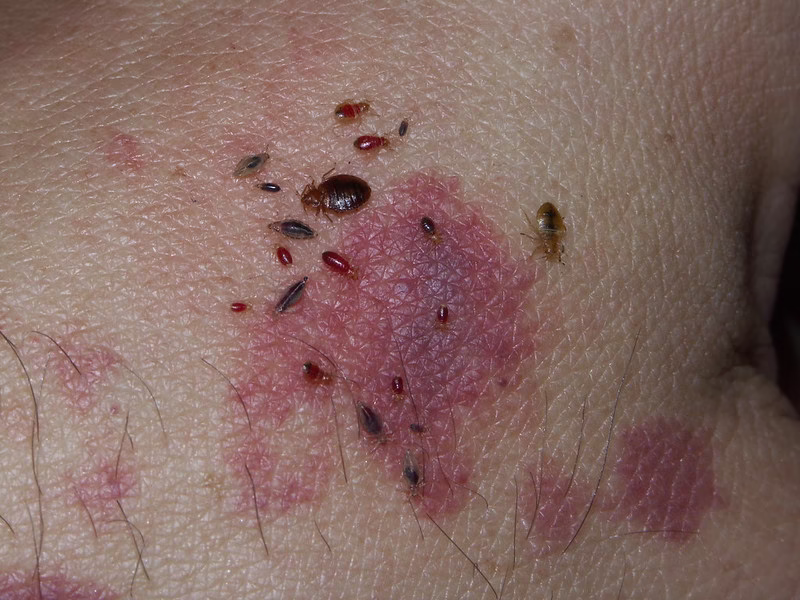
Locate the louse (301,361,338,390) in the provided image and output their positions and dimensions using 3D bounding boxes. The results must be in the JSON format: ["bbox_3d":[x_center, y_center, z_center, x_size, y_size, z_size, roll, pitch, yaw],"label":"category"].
[{"bbox_3d":[-0.351,0.321,4.497,0.116,0.041,0.087,37,81,-1],"label":"louse"}]

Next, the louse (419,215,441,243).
[{"bbox_3d":[0.127,-0.309,4.615,0.067,0.036,0.121,-22,85,-14],"label":"louse"}]

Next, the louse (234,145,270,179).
[{"bbox_3d":[-0.640,-0.584,4.600,0.165,0.053,0.099,-42,86,-12],"label":"louse"}]

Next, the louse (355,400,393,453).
[{"bbox_3d":[-0.113,0.526,4.494,0.099,0.056,0.215,-24,84,-17],"label":"louse"}]

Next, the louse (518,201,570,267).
[{"bbox_3d":[0.634,-0.283,4.602,0.168,0.061,0.268,0,88,-16],"label":"louse"}]

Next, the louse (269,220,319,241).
[{"bbox_3d":[-0.453,-0.305,4.512,0.180,0.069,0.112,8,83,-3],"label":"louse"}]

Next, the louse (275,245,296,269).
[{"bbox_3d":[-0.492,-0.189,4.540,0.052,0.025,0.095,-24,84,-5],"label":"louse"}]

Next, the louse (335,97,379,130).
[{"bbox_3d":[-0.212,-0.825,4.646,0.125,0.040,0.117,-20,86,-3],"label":"louse"}]

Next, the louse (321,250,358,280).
[{"bbox_3d":[-0.258,-0.138,4.602,0.171,0.059,0.092,41,75,-1],"label":"louse"}]
